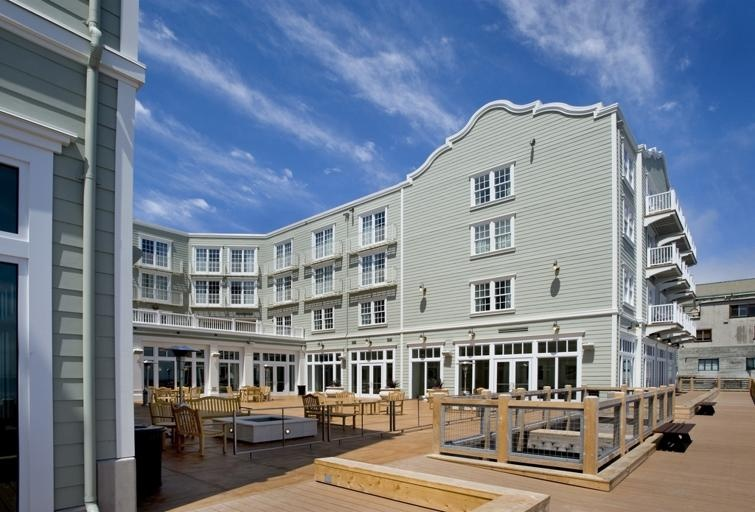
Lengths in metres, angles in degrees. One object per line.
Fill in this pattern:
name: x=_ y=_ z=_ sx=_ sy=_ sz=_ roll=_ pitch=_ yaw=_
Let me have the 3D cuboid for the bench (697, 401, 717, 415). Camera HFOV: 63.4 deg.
bench: x=13.640 y=6.335 z=25.427 sx=0.616 sy=0.273 sz=0.967 roll=-24 pitch=-33 yaw=30
